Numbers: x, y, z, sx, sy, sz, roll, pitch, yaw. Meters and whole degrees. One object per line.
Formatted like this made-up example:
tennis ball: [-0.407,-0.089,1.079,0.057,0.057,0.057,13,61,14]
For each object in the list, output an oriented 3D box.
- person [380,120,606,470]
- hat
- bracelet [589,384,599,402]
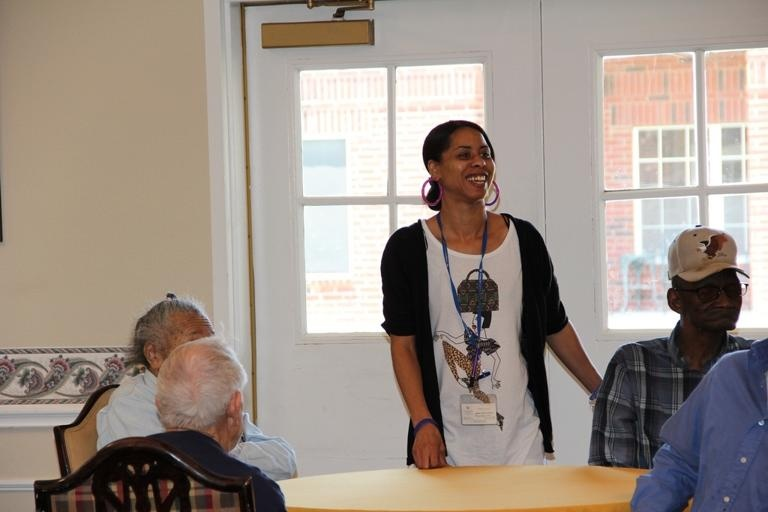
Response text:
person: [0.373,0.127,3.621,0.751,1.200,0.335,-2,-1,-13]
hat: [1.130,-0.004,3.423,0.171,0.149,0.241,0,-6,-18]
bracelet: [0.776,0.496,3.543,0.019,0.057,0.040,15,-3,-16]
